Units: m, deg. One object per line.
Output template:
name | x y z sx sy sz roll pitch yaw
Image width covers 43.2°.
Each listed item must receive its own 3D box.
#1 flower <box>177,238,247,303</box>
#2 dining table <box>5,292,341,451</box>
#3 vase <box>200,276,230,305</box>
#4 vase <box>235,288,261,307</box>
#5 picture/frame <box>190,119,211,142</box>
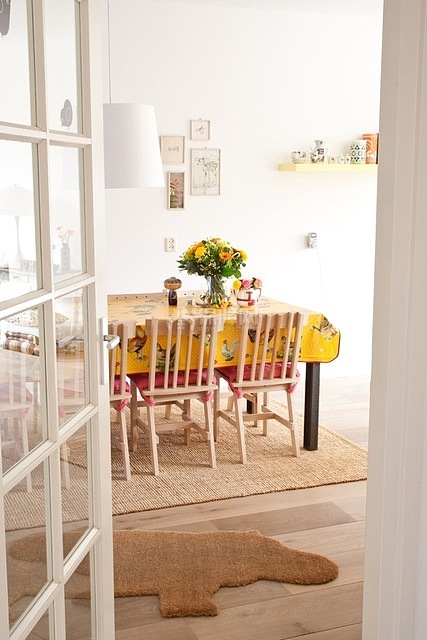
flower | -0.012 -0.292 3.462 0.411 0.414 0.416 0 1 0
dining table | -0.037 0.400 3.854 1.369 0.846 1.767 -3 0 -18
vase | 0.038 -0.195 3.562 0.176 0.293 0.175 0 3 23
vase | 0.215 -0.144 3.404 0.141 0.102 0.106 1 6 -17
picture/frame | -0.117 -1.570 4.435 0.176 0.167 0.063 -2 10 -13
